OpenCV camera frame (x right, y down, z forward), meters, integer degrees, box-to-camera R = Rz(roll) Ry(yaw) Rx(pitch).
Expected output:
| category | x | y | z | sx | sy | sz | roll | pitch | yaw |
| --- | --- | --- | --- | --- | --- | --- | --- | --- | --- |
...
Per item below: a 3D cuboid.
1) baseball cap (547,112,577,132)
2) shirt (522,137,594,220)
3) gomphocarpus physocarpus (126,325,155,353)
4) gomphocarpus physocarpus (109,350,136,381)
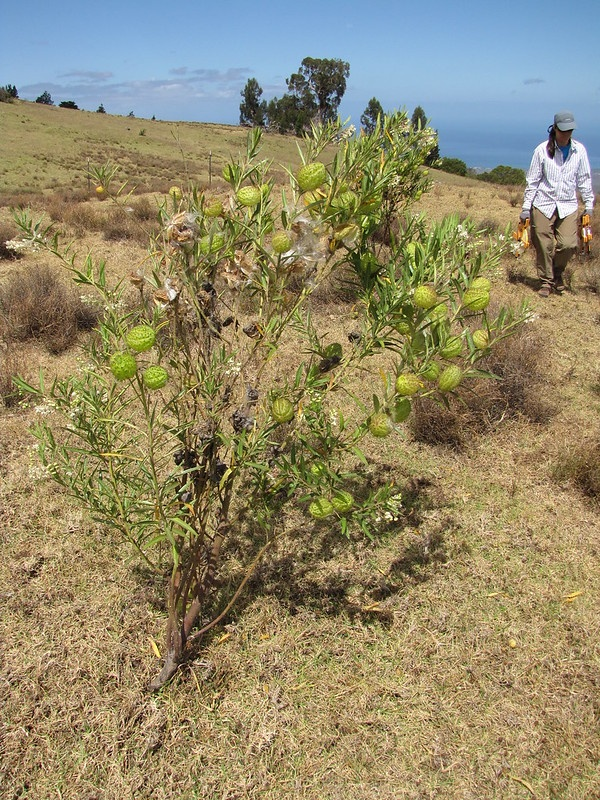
| category | x | y | z | sx | sy | sz | roll | pitch | yaw |
| --- | --- | --- | --- | --- | --- | --- | --- | --- | --- |
| baseball cap | 2.401 | -2.543 | 5.786 | 0.135 | 0.146 | 0.315 | -1 | 19 | -8 |
| shirt | 2.532 | -2.139 | 6.180 | 0.598 | 0.715 | 0.317 | 8 | 21 | 16 |
| gomphocarpus physocarpus | -0.475 | -0.181 | 1.916 | 0.073 | 0.070 | 0.093 | -37 | 19 | -24 |
| gomphocarpus physocarpus | -0.524 | -0.105 | 1.944 | 0.088 | 0.100 | 0.087 | -5 | 2 | -43 |
